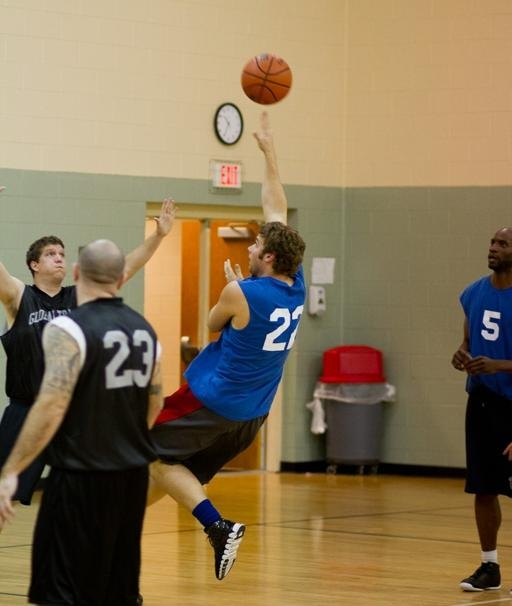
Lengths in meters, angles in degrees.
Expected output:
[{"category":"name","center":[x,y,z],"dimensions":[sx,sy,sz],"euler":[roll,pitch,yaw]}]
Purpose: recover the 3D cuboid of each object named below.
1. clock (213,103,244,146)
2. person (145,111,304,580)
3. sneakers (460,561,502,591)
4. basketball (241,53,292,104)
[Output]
[{"category":"clock","center":[-0.237,-1.531,7.162],"dimensions":[0.028,0.355,0.343],"euler":[-14,22,-41]},{"category":"person","center":[-0.114,0.384,3.495],"dimensions":[0.593,1.446,0.455],"euler":[-1,-3,16]},{"category":"sneakers","center":[1.033,1.270,3.881],"dimensions":[0.253,0.117,0.087],"euler":[11,-10,-31]},{"category":"basketball","center":[0.056,-1.374,5.093],"dimensions":[0.301,0.347,0.178],"euler":[0,-3,-2]}]
